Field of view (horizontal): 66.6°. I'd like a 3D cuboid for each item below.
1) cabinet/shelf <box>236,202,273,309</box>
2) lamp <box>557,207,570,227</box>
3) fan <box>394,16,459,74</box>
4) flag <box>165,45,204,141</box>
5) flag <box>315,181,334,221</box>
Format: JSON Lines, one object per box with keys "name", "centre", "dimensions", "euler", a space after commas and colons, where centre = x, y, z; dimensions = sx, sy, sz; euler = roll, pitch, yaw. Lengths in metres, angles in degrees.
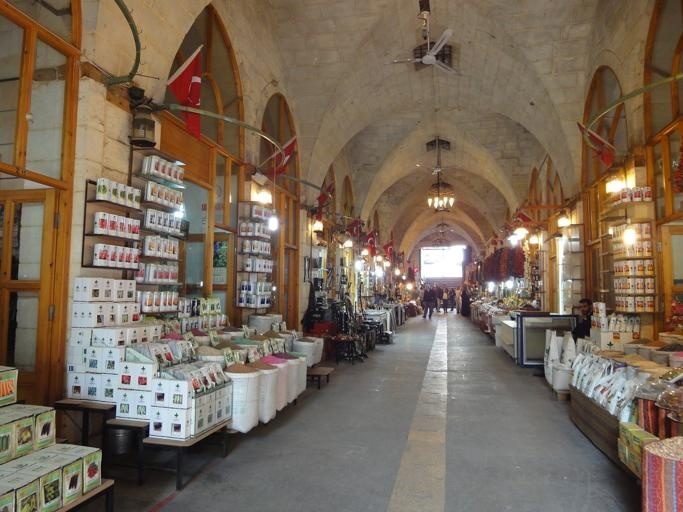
{"name": "cabinet/shelf", "centre": [-1.606, 0.058, 9.437], "dimensions": [0.406, 2.028, 0.914], "euler": [1, 2, 18]}
{"name": "lamp", "centre": [5.235, -0.873, 12.185], "dimensions": [0.123, 0.457, 0.925], "euler": [1, 2, 13]}
{"name": "fan", "centre": [1.737, -4.486, 10.795], "dimensions": [1.207, 0.615, 1.526], "euler": [2, -1, 7]}
{"name": "flag", "centre": [-2.191, -2.258, 7.224], "dimensions": [0.433, 1.258, 1.070], "euler": [0, 2, -16]}
{"name": "flag", "centre": [-0.478, -1.299, 13.423], "dimensions": [0.325, 0.815, 1.169], "euler": [10, -13, -7]}
